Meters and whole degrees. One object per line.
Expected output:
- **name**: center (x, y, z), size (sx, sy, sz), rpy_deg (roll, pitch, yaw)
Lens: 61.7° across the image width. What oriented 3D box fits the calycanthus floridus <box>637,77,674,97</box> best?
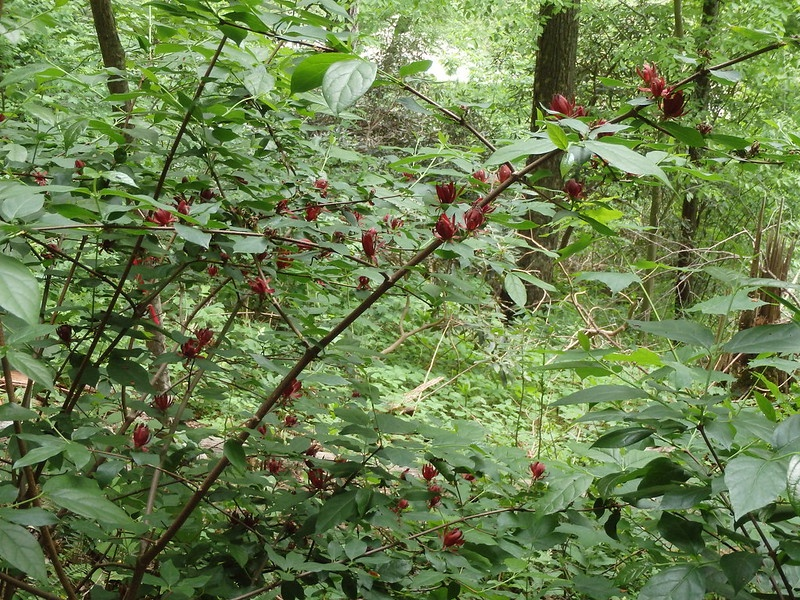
- **calycanthus floridus**: center (0.738, -0.615, 1.940), size (0.105, 0.047, 0.089), rpy_deg (0, 26, 2)
